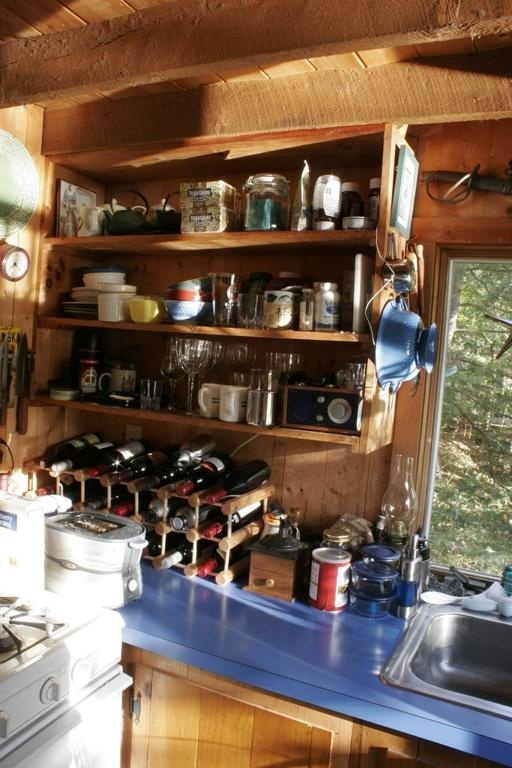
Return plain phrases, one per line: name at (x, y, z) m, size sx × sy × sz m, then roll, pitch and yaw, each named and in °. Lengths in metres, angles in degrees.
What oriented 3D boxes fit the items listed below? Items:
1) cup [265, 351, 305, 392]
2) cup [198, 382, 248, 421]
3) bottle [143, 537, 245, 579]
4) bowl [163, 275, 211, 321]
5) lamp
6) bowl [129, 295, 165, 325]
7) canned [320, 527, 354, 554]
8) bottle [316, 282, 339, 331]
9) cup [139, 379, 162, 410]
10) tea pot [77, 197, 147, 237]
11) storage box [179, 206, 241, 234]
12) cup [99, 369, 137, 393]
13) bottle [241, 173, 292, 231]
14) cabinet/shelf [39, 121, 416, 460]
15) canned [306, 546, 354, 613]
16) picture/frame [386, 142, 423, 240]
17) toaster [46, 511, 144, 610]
cup at (0.078, -0.041, 1.726) m, size 0.098 × 0.110 × 0.104 m, roll 3°, pitch -2°, yaw 0°
cup at (-0.097, 0.052, 1.755) m, size 0.089 × 0.089 × 0.140 m, roll 2°, pitch 2°, yaw -39°
bottle at (-0.170, 0.512, 1.762) m, size 0.171 × 0.056 × 0.164 m, roll 9°, pitch -8°, yaw 1°
bowl at (-0.214, -0.252, 1.778) m, size 0.119 × 0.107 × 0.134 m, roll -1°, pitch -2°, yaw -2°
lamp at (0.415, 0.336, 1.751) m, size 0.119 × 0.242 × 0.155 m, roll 4°, pitch 0°, yaw 16°
bowl at (-0.341, -0.229, 1.868) m, size 0.093 × 0.059 × 0.093 m, roll 2°, pitch 4°, yaw 0°
canned at (0.229, 0.435, 1.675) m, size 0.069 × 0.065 × 0.070 m, roll 2°, pitch -2°, yaw 26°
bottle at (0.192, -0.208, 1.617) m, size 0.074 × 0.123 × 0.059 m, roll 4°, pitch -1°, yaw 4°
cup at (-0.327, 0.032, 1.928) m, size 0.088 × 0.095 × 0.084 m, roll 4°, pitch 0°, yaw 0°
tea pot at (-0.469, -0.526, 1.927) m, size 0.216 × 0.085 × 0.128 m, roll 8°, pitch 11°, yaw 33°
storage box at (-0.137, -0.458, 1.740) m, size 0.130 × 0.067 × 0.095 m, roll 3°, pitch 6°, yaw 26°
cup at (-0.477, -0.008, 2.059) m, size 0.115 × 0.083 × 0.064 m, roll 3°, pitch 1°, yaw 5°
bottle at (0.020, -0.473, 1.671) m, size 0.165 × 0.175 × 0.146 m, roll 1°, pitch -3°, yaw -14°
cabinet/shelf at (-0.074, -0.291, 1.777) m, size 1.057 × 0.784 × 0.348 m, roll 4°, pitch 7°, yaw 28°
canned at (0.201, 0.522, 1.604) m, size 0.109 × 0.156 × 0.122 m, roll 4°, pitch 0°, yaw 7°
picture/frame at (0.386, -0.513, 1.556) m, size 0.046 × 0.331 × 0.292 m, roll 3°, pitch -6°, yaw 19°
toaster at (-0.429, 0.460, 1.622) m, size 0.266 × 0.163 × 0.180 m, roll 5°, pitch 4°, yaw 27°
